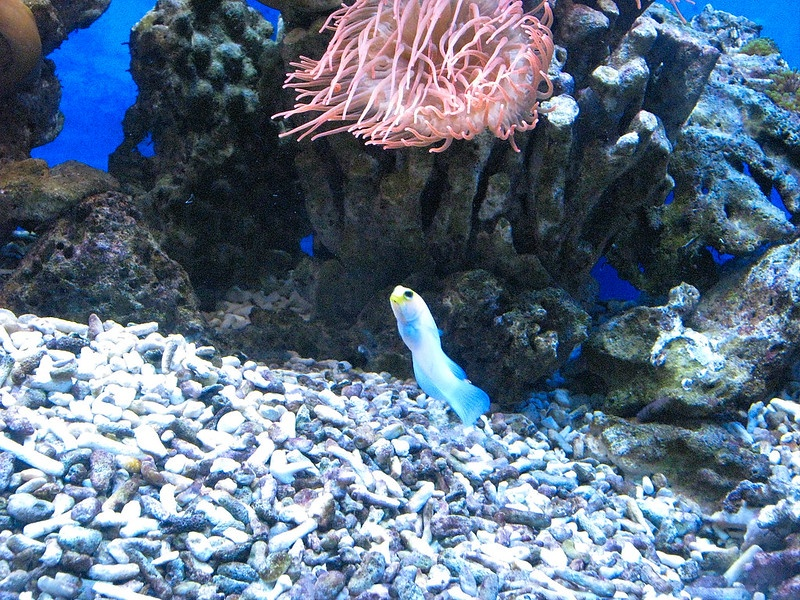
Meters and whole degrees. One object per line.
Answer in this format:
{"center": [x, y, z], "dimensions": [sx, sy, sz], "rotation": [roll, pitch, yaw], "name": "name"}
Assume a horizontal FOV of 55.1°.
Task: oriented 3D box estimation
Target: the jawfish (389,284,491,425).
{"center": [0.267, 0.337, 4.586], "dimensions": [0.194, 0.896, 0.318], "rotation": [1, 35, 47], "name": "jawfish"}
